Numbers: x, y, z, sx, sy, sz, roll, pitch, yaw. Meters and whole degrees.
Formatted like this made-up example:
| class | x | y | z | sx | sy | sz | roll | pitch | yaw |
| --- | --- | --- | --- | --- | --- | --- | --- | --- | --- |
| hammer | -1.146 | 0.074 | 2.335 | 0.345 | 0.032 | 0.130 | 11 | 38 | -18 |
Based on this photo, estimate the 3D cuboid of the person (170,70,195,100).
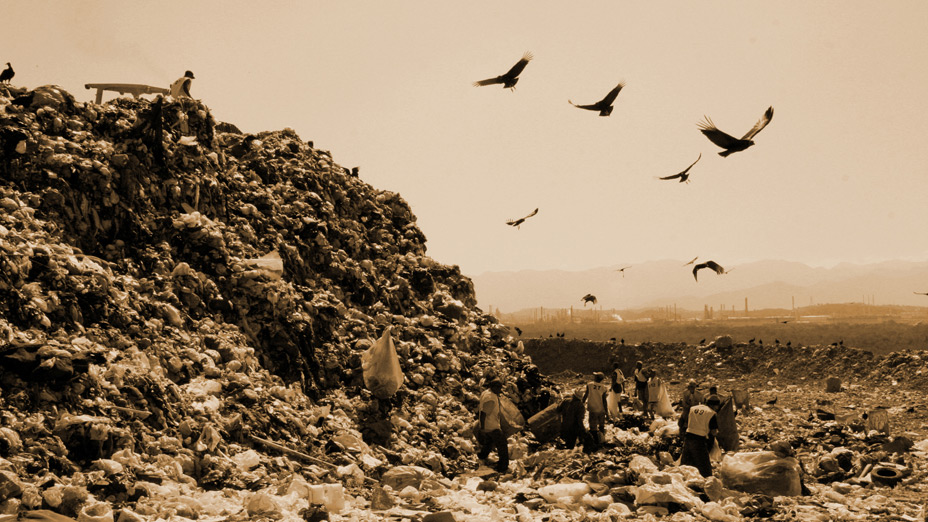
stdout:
| class | x | y | z | sx | sy | sz | roll | pitch | yaw |
| --- | --- | --- | --- | --- | --- | --- | --- | --- | --- |
| person | -6.601 | -4.157 | 29.175 | 0.469 | 0.796 | 1.062 | 0 | -6 | -15 |

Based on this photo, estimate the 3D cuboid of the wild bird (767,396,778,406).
| class | x | y | z | sx | sy | sz | roll | pitch | yaw |
| --- | --- | --- | --- | --- | --- | --- | --- | --- | --- |
| wild bird | 8.843 | 3.957 | 35.268 | 0.158 | 0.320 | 0.605 | -9 | -16 | 23 |

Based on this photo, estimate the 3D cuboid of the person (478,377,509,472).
| class | x | y | z | sx | sy | sz | roll | pitch | yaw |
| --- | --- | --- | --- | --- | --- | --- | --- | --- | --- |
| person | 0.712 | 3.702 | 28.233 | 0.680 | 2.079 | 0.616 | -1 | -5 | 1 |
